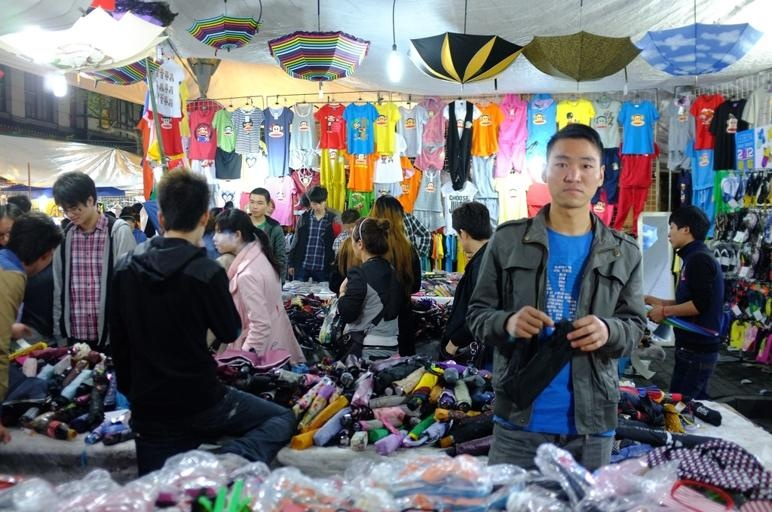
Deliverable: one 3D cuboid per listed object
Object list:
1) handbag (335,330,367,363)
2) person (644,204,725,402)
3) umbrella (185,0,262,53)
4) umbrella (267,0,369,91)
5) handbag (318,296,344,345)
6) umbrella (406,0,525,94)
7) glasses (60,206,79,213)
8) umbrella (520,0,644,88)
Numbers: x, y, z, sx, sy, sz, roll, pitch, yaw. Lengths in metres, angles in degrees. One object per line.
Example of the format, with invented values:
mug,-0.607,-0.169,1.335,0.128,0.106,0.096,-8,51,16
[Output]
handbag,-0.303,0.759,4.815,0.295,0.280,0.218,1,-4,-5
person,2.673,0.405,4.878,0.507,1.663,0.552,7,9,31
umbrella,-1.811,-2.530,6.312,0.614,0.475,0.616,-8,-6,24
umbrella,-0.763,-2.378,6.840,0.924,1.157,0.925,-3,-12,6
handbag,-0.495,0.567,5.357,0.281,0.490,0.177,-16,-32,42
umbrella,0.960,-2.462,6.613,1.082,1.295,1.008,0,-26,11
glasses,-2.668,-0.393,4.698,0.082,0.024,0.084,0,-5,-1
umbrella,2.279,-2.288,6.346,1.008,0.737,1.005,3,-6,7
